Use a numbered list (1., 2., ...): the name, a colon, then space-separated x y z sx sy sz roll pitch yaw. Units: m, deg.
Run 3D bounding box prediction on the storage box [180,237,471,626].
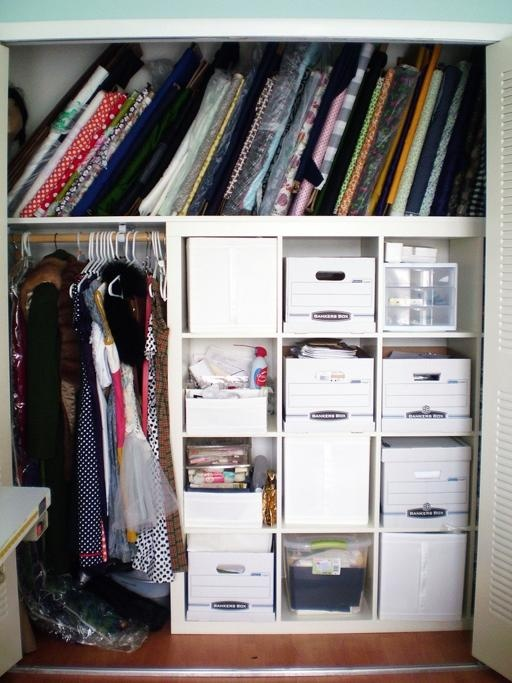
1. storage box: 0.261 0.364 2.426 1.253 1.817 0.520 1 3 -3
